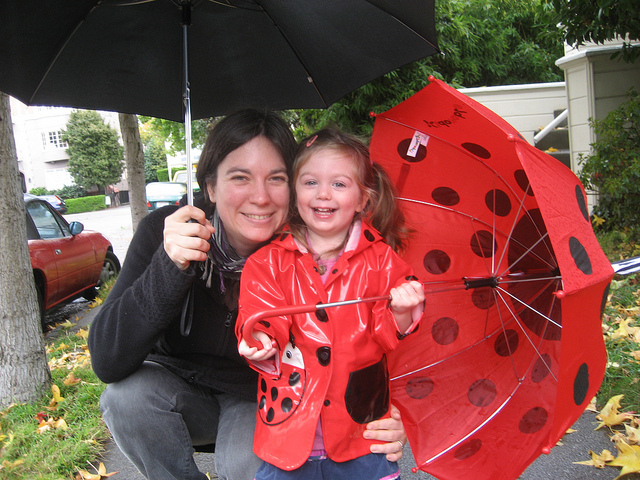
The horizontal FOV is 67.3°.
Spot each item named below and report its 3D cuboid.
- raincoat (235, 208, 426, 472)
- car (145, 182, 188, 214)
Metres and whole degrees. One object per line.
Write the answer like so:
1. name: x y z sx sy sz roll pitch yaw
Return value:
1. raincoat: 0.027 0.494 2.813 1.213 1.772 0.910 0 -13 1
2. car: -6.062 -1.770 18.735 1.289 0.979 1.893 -9 8 -27
